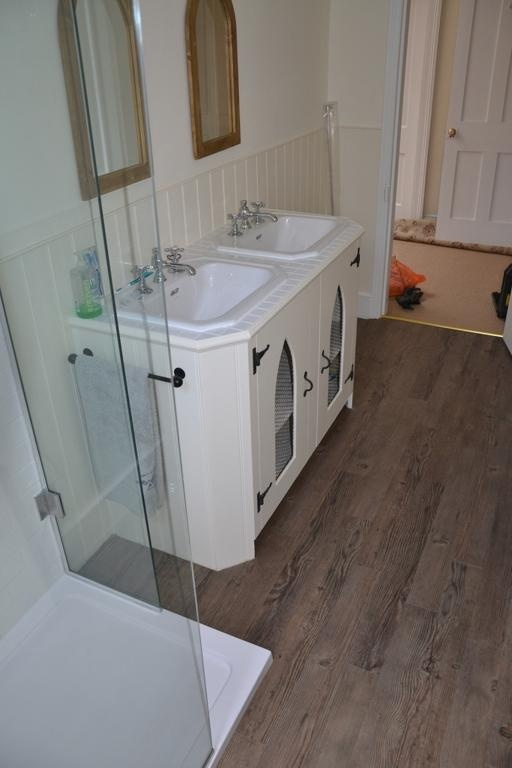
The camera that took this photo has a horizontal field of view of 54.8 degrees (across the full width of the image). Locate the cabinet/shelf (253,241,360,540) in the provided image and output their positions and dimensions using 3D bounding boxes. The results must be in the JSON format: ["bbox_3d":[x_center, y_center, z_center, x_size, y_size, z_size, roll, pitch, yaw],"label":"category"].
[{"bbox_3d":[0.188,0.025,1.946,0.281,0.749,0.851,10,42,24],"label":"cabinet/shelf"}]

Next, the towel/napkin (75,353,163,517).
[{"bbox_3d":[-0.225,0.077,0.826,0.169,0.369,0.045,19,33,33],"label":"towel/napkin"}]

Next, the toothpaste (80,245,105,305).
[{"bbox_3d":[-0.225,-0.151,0.687,0.031,0.070,0.064,-9,37,-9],"label":"toothpaste"}]

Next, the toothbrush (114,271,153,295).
[{"bbox_3d":[-0.176,-0.154,0.708,0.019,0.028,0.062,14,35,15],"label":"toothbrush"}]

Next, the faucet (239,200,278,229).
[{"bbox_3d":[0.009,-0.774,2.233,0.165,0.119,0.184,-3,27,6],"label":"faucet"}]
